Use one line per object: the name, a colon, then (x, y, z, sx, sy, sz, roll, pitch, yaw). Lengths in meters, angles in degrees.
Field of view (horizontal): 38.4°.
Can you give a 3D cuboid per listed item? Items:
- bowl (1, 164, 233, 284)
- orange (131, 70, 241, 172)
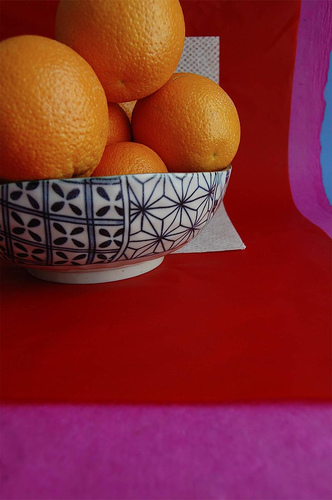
bowl: (-0.052, -0.020, 0.357, 0.120, 0.045, 0.119, -8, 0, 0)
orange: (0.026, -0.110, 0.428, 0.081, 0.095, 0.075, -2, 12, 14)
